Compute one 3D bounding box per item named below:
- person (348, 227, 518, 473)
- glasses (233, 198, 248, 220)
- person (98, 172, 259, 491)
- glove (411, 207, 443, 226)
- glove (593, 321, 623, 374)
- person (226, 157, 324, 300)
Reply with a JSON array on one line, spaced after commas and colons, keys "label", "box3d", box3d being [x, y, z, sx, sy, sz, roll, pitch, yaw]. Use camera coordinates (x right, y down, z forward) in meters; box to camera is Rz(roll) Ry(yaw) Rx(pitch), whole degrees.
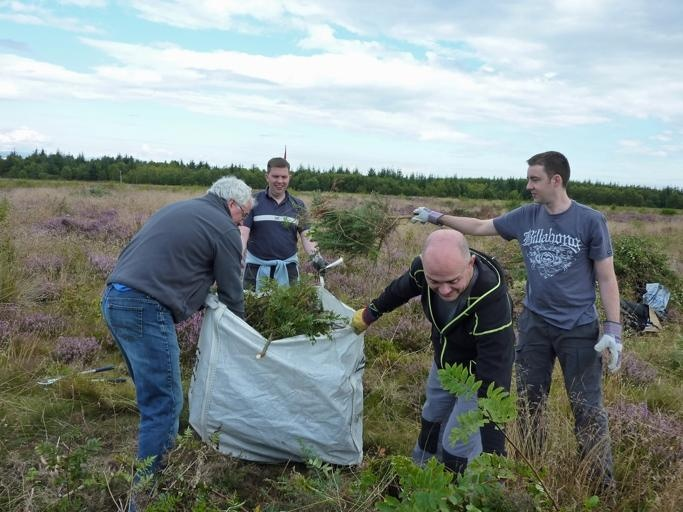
[{"label": "person", "box3d": [0.828, 0.814, 4.260, 1.052, 2.131, 0.863, 3, 9, 1]}, {"label": "glasses", "box3d": [-0.921, -0.439, 4.838, 0.135, 0.043, 0.133, 39, 1, 11]}, {"label": "person", "box3d": [-1.368, 0.560, 4.317, 1.043, 2.115, 0.691, -3, 11, -34]}, {"label": "glove", "box3d": [0.924, -0.437, 5.642, 0.244, 0.108, 0.204, 20, -21, 25]}, {"label": "glove", "box3d": [2.373, 0.796, 4.647, 0.218, 0.500, 0.339, 8, 11, 29]}, {"label": "person", "box3d": [-0.928, 0.111, 6.742, 1.149, 2.652, 0.809, -5, 33, -21]}]
